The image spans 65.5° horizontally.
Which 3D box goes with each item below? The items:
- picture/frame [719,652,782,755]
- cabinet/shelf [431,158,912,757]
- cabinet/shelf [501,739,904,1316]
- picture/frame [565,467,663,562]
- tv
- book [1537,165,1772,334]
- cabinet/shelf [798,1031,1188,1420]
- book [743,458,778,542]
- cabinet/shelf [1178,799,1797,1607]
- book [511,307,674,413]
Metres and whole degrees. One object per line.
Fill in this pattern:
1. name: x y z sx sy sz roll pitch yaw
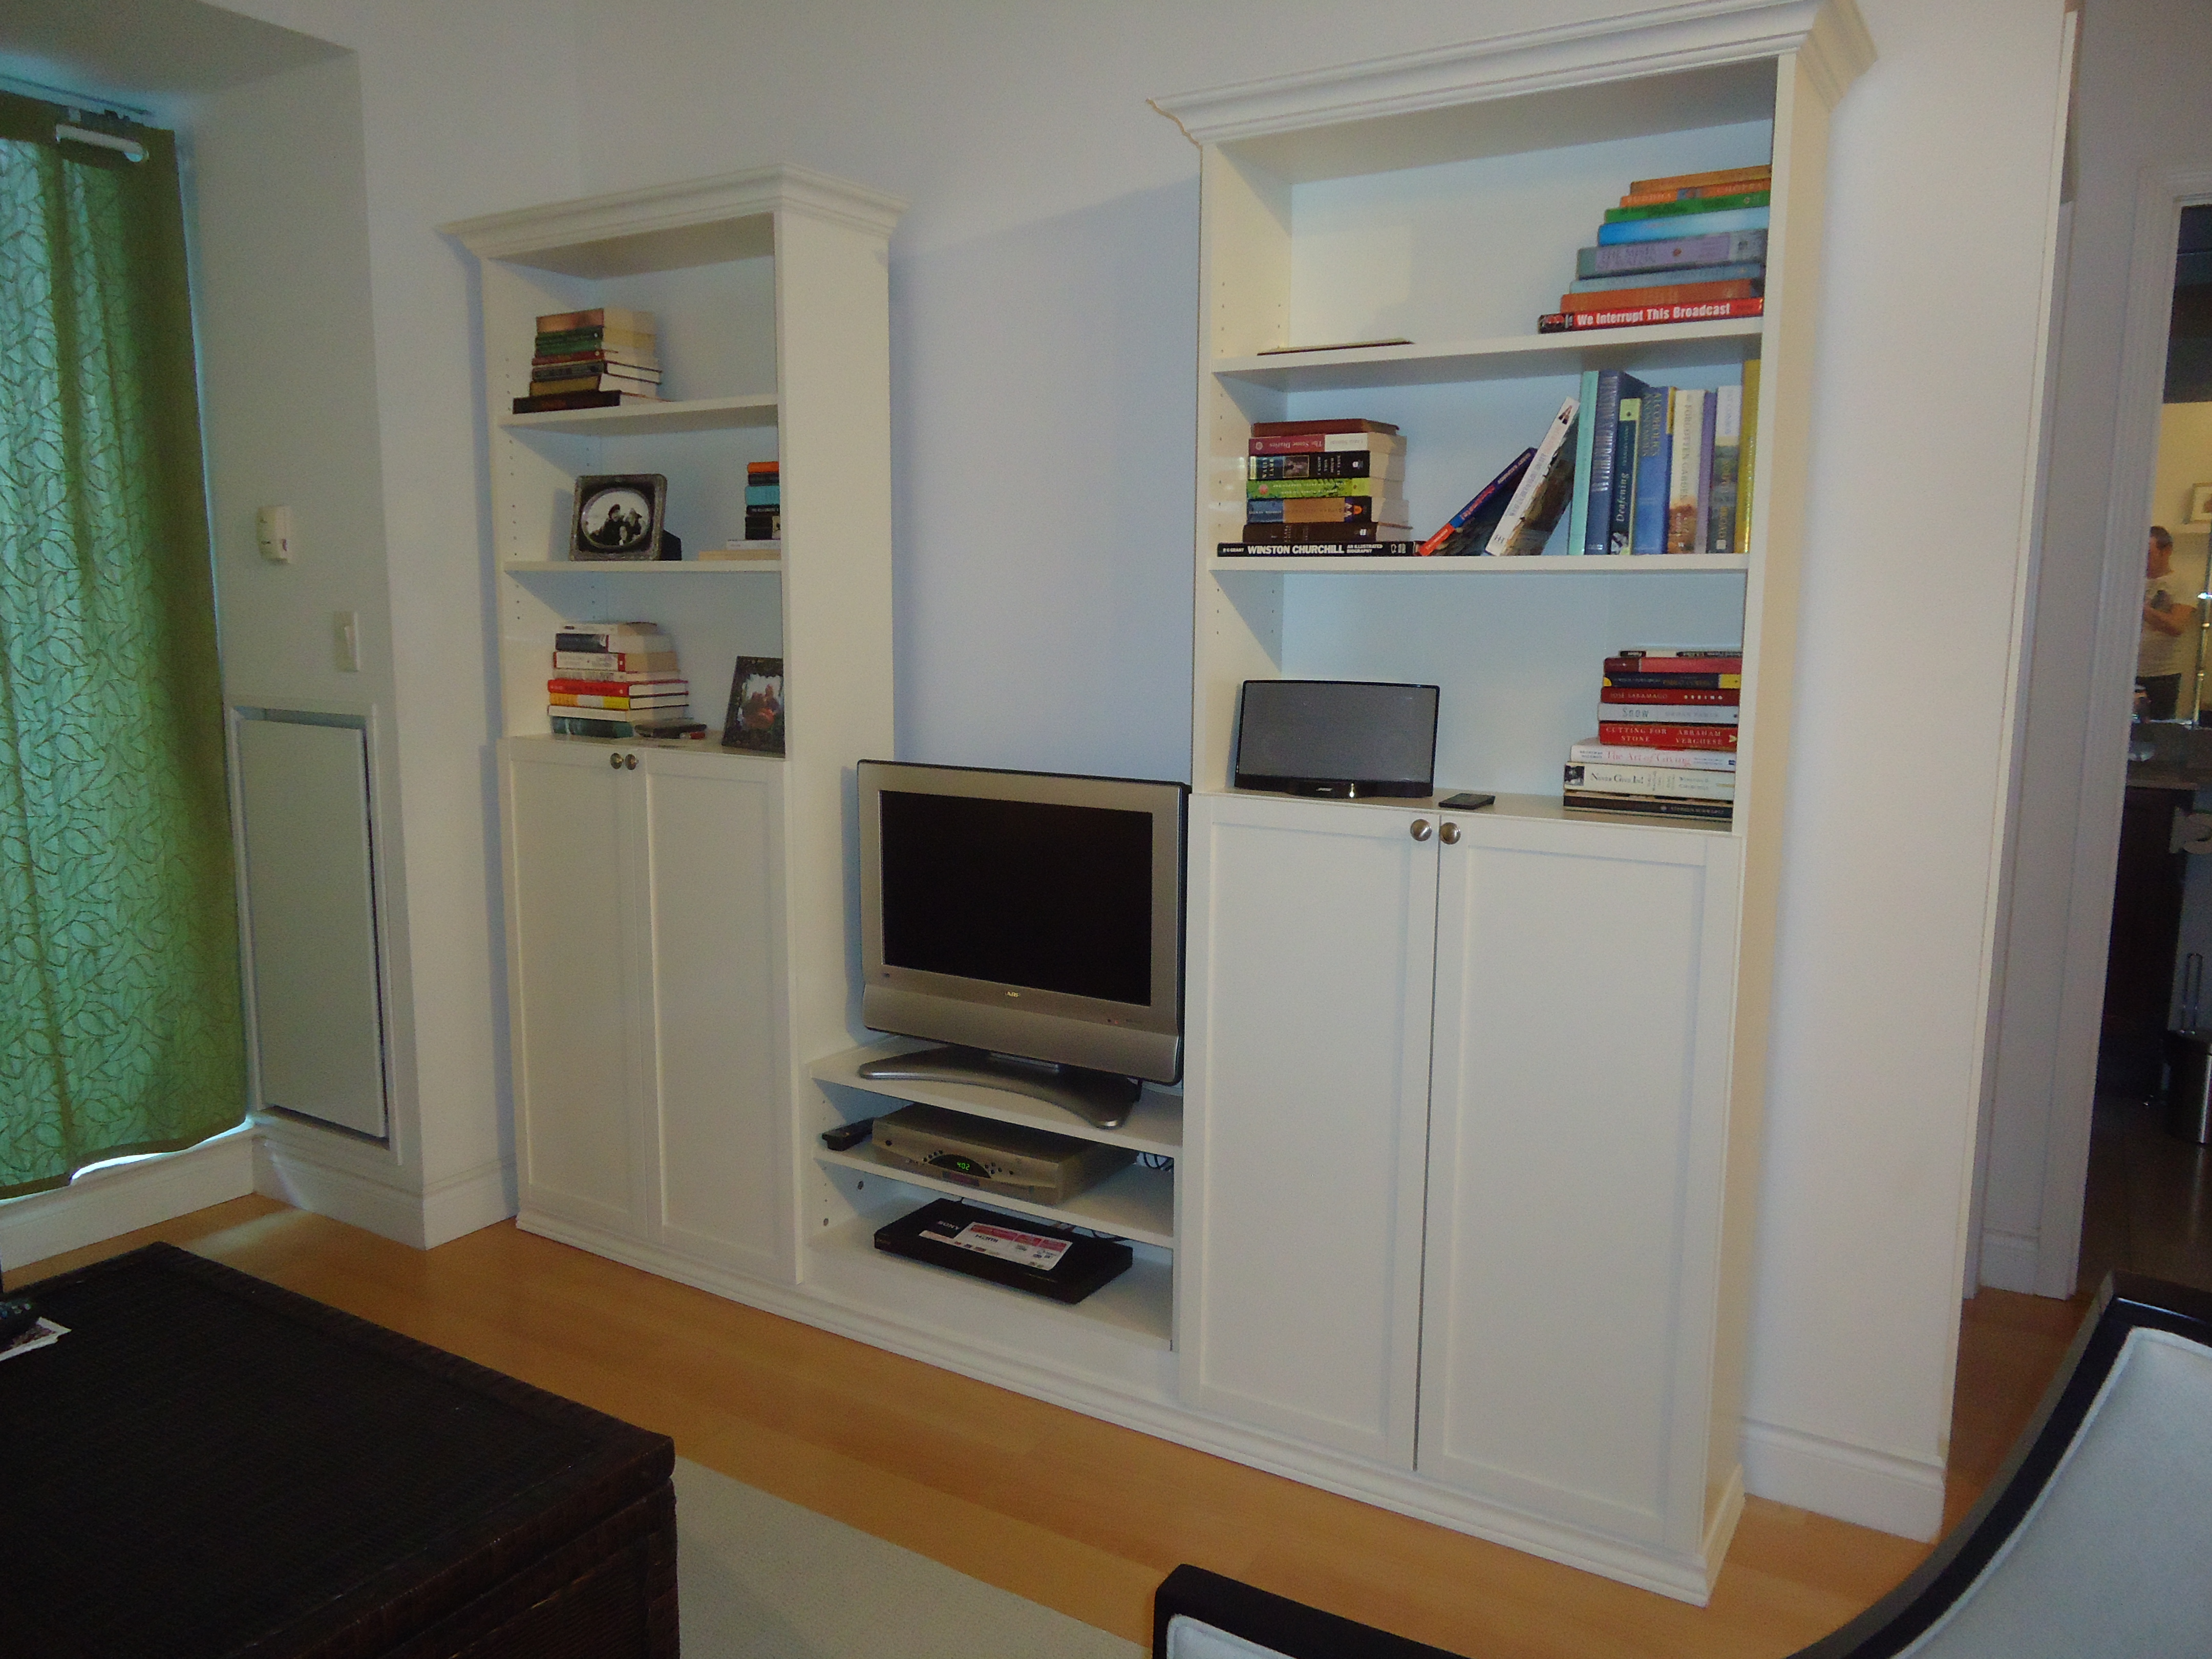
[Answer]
1. picture/frame: -0.834 -0.301 4.063 0.249 0.293 0.038 3 0 43
2. cabinet/shelf: -1.021 -0.916 4.073 1.267 1.738 0.493 6 10 30
3. cabinet/shelf: -0.902 0.441 4.008 1.171 1.594 0.507 4 5 28
4. picture/frame: -1.196 -0.767 4.186 0.264 0.232 0.037 2 1 28
5. tv: -0.163 0.237 3.721 0.765 0.686 0.305 3 4 29
6. book: 0.963 -1.024 3.032 0.365 0.285 0.105 5 10 14
7. cabinet/shelf: -0.229 0.896 3.850 0.934 0.607 0.353 4 5 20
8. book: -0.797 -0.764 3.974 0.140 0.180 0.043 12 13 44
9. cabinet/shelf: 0.754 0.686 3.203 1.300 1.720 0.542 3 4 30
10. book: -1.209 -1.128 4.123 0.278 0.203 0.283 1 6 40
